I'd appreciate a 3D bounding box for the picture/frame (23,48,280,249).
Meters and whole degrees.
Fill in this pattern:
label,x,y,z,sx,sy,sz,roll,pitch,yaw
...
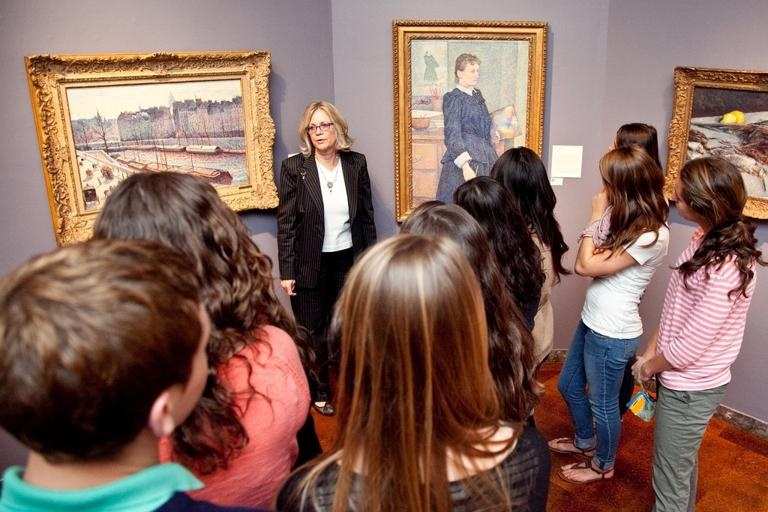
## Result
label,x,y,z,sx,sy,sz,roll,pitch,yaw
picture/frame,-1.434,-0.706,3.017,0.091,1.085,1.399,13,17,42

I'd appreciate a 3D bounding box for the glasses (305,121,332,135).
label,x,y,z,sx,sy,sz,roll,pitch,yaw
glasses,-0.494,-0.987,3.943,0.211,0.078,0.052,-6,17,-7

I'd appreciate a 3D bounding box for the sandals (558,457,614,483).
label,x,y,z,sx,sy,sz,roll,pitch,yaw
sandals,1.305,1.372,3.301,0.250,0.087,0.157,4,10,13
